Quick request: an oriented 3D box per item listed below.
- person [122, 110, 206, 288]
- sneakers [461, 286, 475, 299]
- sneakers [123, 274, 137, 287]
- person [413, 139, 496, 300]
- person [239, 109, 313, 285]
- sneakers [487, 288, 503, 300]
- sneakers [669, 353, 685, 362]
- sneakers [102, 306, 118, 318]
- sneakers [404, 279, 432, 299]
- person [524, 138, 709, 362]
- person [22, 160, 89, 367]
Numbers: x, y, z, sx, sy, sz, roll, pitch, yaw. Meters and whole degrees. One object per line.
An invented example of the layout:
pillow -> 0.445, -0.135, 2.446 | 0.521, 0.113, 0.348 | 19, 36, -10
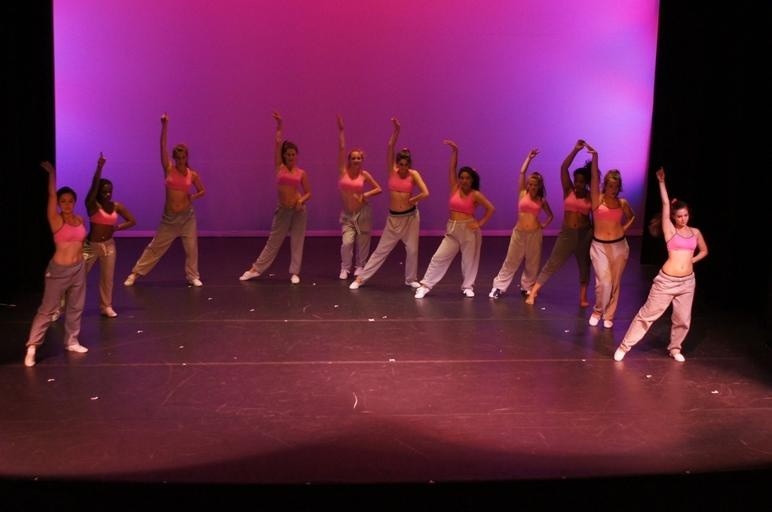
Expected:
person -> -2.816, -0.691, 7.879 | 1.059, 2.178, 0.998 | -10, 18, -40
sneakers -> 1.036, 0.466, 7.778 | 0.125, 0.091, 0.226 | -2, 2, -5
sneakers -> -3.288, 0.317, 7.922 | 0.097, 0.088, 0.214 | 18, 33, -18
person -> 0.898, -0.439, 7.715 | 0.852, 1.906, 0.870 | 4, 14, 8
person -> -1.457, -0.780, 8.291 | 0.842, 2.225, 0.867 | 0, 14, -9
sneakers -> 1.352, 0.475, 7.675 | 0.146, 0.147, 0.115 | 2, 56, 11
sneakers -> 2.793, 0.976, 5.923 | 0.054, 0.048, 0.138 | -11, 2, -9
sneakers -> -3.006, 0.612, 6.747 | 0.074, 0.110, 0.235 | 13, 3, -41
sneakers -> 0.416, 0.429, 7.796 | 0.172, 0.237, 0.542 | -2, -6, 0
person -> 2.562, -0.077, 6.224 | 1.136, 1.906, 1.324 | 4, 14, 9
person -> -3.027, 0.056, 5.604 | 0.602, 1.766, 0.394 | -8, 17, -34
